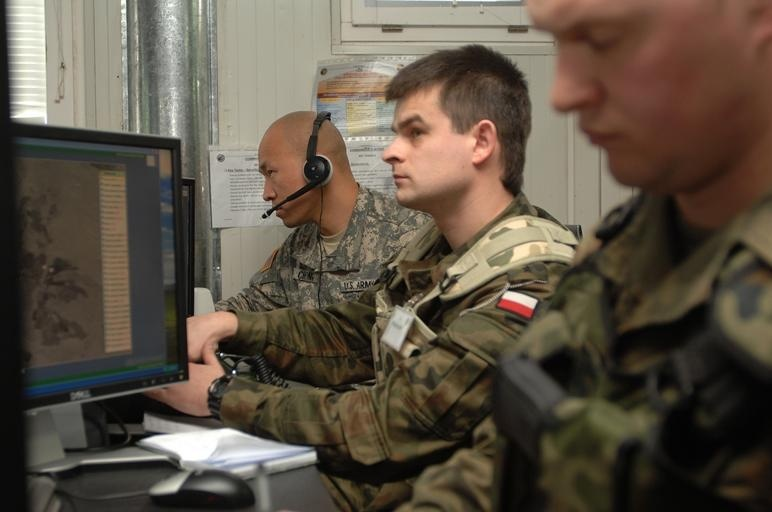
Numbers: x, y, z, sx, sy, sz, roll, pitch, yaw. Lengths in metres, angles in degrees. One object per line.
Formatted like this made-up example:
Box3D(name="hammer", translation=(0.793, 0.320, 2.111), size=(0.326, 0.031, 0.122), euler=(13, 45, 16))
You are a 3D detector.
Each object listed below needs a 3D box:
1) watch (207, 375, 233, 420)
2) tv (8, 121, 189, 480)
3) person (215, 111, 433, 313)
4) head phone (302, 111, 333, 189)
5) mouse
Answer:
Box3D(name="watch", translation=(-0.220, 0.196, 0.978), size=(0.032, 0.050, 0.057), euler=(-3, 8, 13))
Box3D(name="tv", translation=(-0.339, 0.008, 0.878), size=(0.032, 0.340, 0.229), euler=(3, 11, 44))
Box3D(name="person", translation=(-0.155, -0.055, 2.032), size=(0.475, 0.459, 0.728), euler=(2, 7, 11))
Box3D(name="head phone", translation=(-0.175, -0.262, 1.840), size=(0.069, 0.165, 0.191), euler=(-1, -4, 8))
Box3D(name="mouse", translation=(-0.189, 0.250, 0.754), size=(0.078, 0.026, 0.049), euler=(3, -2, 4))
